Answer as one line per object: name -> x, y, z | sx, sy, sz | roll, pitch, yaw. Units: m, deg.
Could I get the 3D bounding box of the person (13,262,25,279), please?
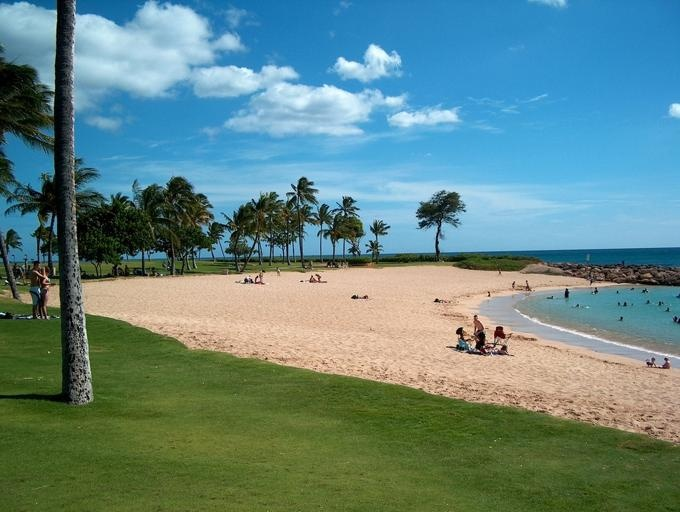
person -> -31.093, 1.430, 51.135 | 1.068, 1.216, 0.547 | 1, -38, -29

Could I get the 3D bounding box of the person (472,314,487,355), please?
person -> 5.251, 2.896, 19.795 | 0.607, 1.145, 1.302 | 10, 8, 14
